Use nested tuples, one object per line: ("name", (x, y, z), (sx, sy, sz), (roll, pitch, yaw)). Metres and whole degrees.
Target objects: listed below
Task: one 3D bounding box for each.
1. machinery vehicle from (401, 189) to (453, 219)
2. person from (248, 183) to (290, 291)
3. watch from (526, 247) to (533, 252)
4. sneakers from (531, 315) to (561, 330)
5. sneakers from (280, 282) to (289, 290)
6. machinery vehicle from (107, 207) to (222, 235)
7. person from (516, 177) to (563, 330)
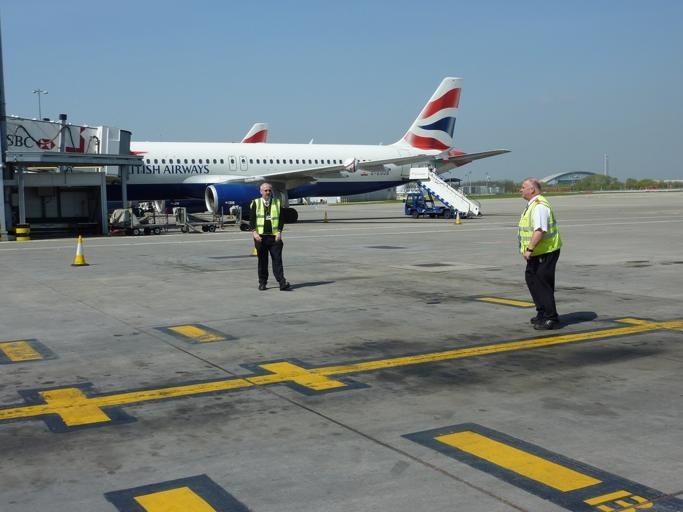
("machinery vehicle", (6.172, -3.565, 41.956), (3.612, 1.276, 2.323), (5, 6, 42))
("person", (-1.585, -0.444, 12.759), (0.761, 2.197, 1.394), (-3, 10, -7))
("watch", (2.762, -0.097, 8.732), (0.077, 0.070, 0.119), (3, 8, 23))
("sneakers", (2.981, 0.987, 8.761), (0.331, 0.173, 0.232), (4, 10, 33))
("sneakers", (-1.206, 0.617, 12.416), (0.200, 0.156, 0.264), (-2, 8, -5))
("machinery vehicle", (-8.528, -1.745, 28.516), (4.260, 0.668, 2.056), (-1, 1, -22))
("person", (2.949, -0.042, 8.856), (0.619, 2.193, 0.744), (1, 11, 15))
